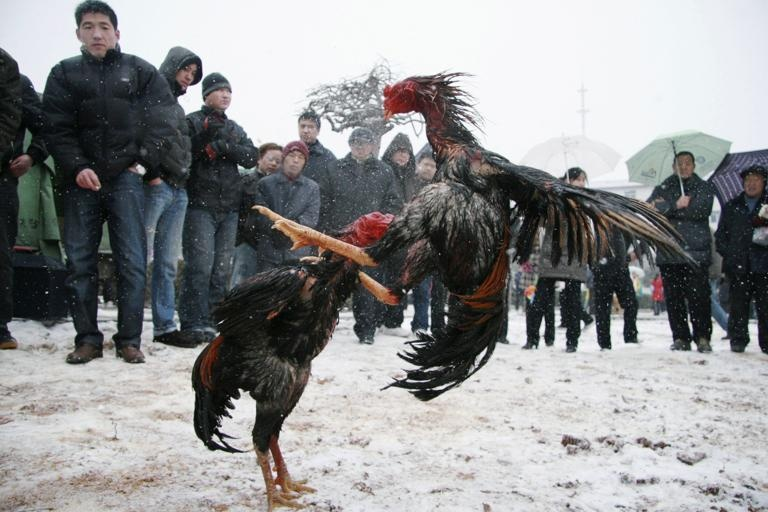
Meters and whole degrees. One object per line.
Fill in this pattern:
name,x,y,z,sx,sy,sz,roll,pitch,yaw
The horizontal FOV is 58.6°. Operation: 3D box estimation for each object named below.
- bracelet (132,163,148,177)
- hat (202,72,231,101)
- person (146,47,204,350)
bracelet,-2.395,-0.835,6.698,0.108,0.115,0.093,-35,-8,19
hat,-1.817,-1.849,7.425,0.298,0.266,0.288,-2,12,-14
person,-2.167,-0.543,7.084,0.877,3.198,0.824,2,-4,-11
